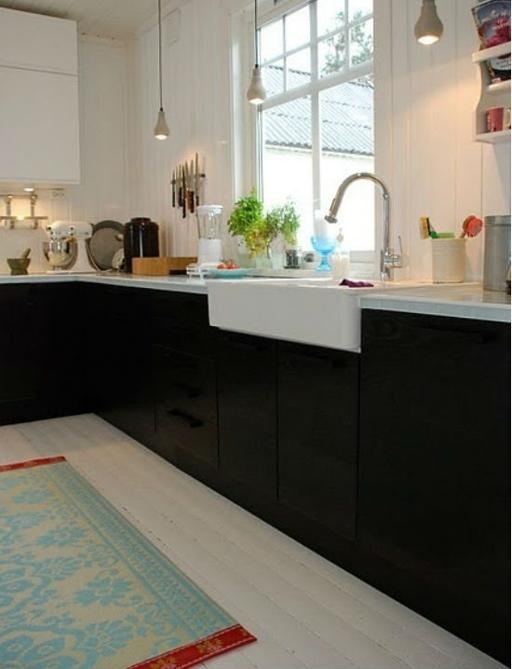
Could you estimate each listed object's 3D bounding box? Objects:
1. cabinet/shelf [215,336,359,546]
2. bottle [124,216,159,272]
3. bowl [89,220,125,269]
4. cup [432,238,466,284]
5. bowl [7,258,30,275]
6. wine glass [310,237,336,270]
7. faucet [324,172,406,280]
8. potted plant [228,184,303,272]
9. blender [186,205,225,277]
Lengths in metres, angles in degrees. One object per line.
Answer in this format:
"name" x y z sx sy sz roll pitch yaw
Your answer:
"cabinet/shelf" 0.179 0.278 1.650 0.601 0.582 0.331 6 11 44
"bottle" -0.745 -0.599 3.383 0.197 0.356 0.229 0 6 3
"bowl" -1.114 -0.680 3.763 0.247 0.409 0.570 -2 1 -15
"cup" 0.593 -0.233 1.559 0.101 0.140 0.079 2 19 26
"bowl" -1.661 -0.455 3.570 0.132 0.107 0.139 1 4 0
"wine glass" 0.295 -0.339 2.179 0.110 0.143 0.117 -4 8 -21
"faucet" 0.410 -0.385 1.788 0.217 0.322 0.535 -2 1 21
"potted plant" 0.047 -0.528 2.644 0.397 0.349 0.163 -1 0 31
"blender" -0.250 -0.489 2.697 0.212 0.388 0.183 -3 9 -20
